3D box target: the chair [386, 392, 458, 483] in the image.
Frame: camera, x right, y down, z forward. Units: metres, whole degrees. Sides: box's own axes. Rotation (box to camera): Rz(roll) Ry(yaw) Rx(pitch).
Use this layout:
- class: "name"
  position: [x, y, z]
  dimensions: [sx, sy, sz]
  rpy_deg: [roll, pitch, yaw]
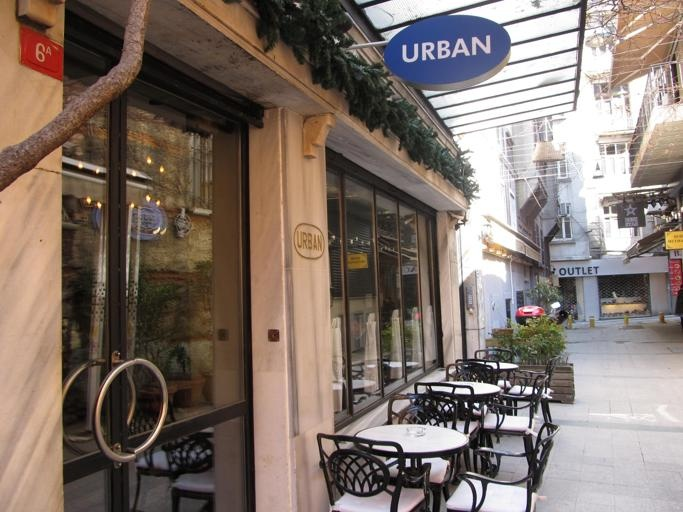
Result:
- class: "chair"
  position: [0.777, 1.787, 5.349]
  dimensions: [0.644, 1.118, 0.746]
  rpy_deg: [2, 5, 21]
